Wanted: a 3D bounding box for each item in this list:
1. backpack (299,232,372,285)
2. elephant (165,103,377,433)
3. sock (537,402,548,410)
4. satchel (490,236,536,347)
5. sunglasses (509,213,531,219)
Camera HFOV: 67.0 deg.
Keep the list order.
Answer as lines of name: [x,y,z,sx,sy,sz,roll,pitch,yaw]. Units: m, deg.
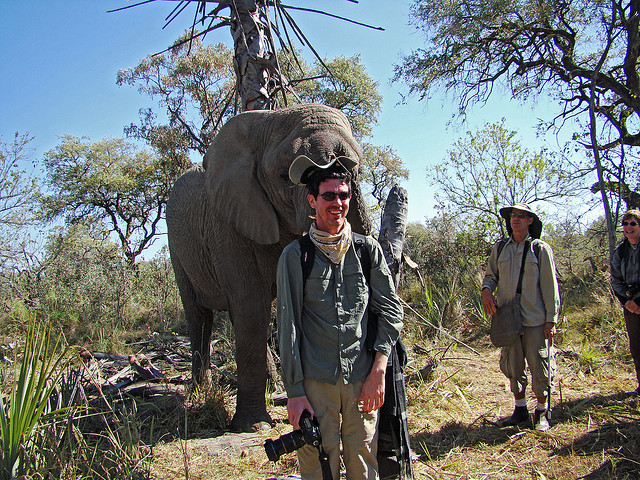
backpack: [0.148,0.129,4.565,0.571,0.634,0.460,-1,-10,-6]
elephant: [-0.854,0.457,7.023,4.165,4.268,1.783,-7,2,41]
sock: [2.810,2.103,6.132,0.114,0.076,0.136,4,12,23]
satchel: [2.489,0.709,6.211,0.539,1.354,0.336,-3,10,-14]
sunglasses: [2.636,-0.320,6.353,0.248,0.075,0.105,2,11,13]
